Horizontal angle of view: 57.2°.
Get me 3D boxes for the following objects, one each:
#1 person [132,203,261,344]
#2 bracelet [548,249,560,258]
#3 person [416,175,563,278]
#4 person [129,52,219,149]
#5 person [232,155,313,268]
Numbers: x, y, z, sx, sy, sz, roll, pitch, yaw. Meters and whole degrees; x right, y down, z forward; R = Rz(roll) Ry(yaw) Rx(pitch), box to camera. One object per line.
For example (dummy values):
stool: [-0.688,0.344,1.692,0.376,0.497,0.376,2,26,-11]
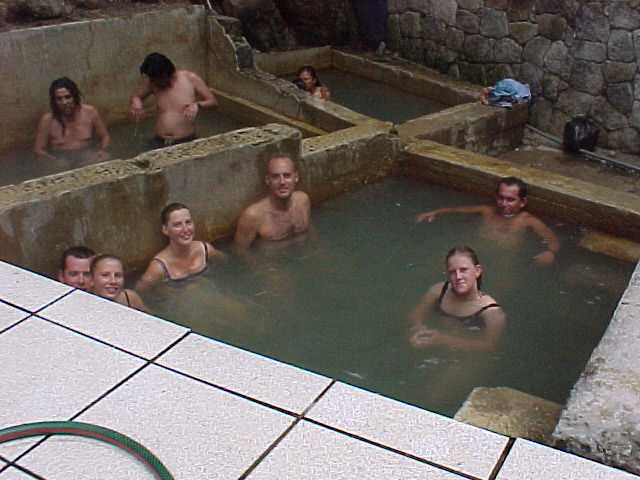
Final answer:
person: [-0.841,0.194,3.870,0.719,0.595,0.909,-15,32,-21]
bracelet: [1.803,0.094,4.538,0.104,0.020,0.071,-5,30,-6]
person: [1.315,-0.081,4.780,1.207,0.514,1.042,4,33,26]
person: [-1.448,-1.206,5.838,0.806,1.213,0.593,2,21,-9]
person: [-0.301,-0.267,4.627,0.821,0.765,0.480,-18,27,-30]
